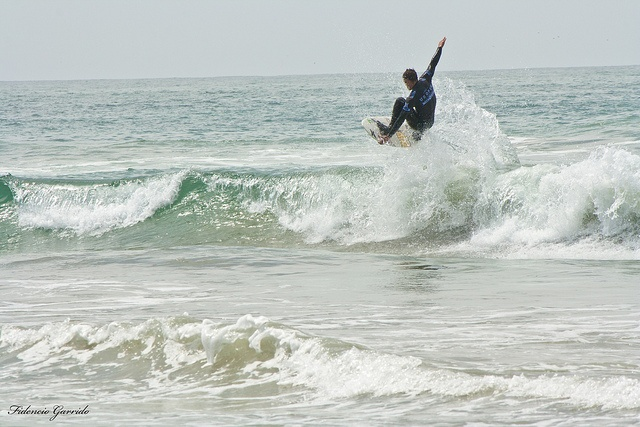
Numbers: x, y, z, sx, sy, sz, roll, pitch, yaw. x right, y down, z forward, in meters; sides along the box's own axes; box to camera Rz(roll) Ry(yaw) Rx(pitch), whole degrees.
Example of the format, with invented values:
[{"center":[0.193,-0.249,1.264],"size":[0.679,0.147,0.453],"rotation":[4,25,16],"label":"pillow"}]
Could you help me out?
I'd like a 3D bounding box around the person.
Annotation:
[{"center":[1.742,-2.236,16.718],"size":[1.206,1.972,1.030],"rotation":[-1,16,6],"label":"person"}]
